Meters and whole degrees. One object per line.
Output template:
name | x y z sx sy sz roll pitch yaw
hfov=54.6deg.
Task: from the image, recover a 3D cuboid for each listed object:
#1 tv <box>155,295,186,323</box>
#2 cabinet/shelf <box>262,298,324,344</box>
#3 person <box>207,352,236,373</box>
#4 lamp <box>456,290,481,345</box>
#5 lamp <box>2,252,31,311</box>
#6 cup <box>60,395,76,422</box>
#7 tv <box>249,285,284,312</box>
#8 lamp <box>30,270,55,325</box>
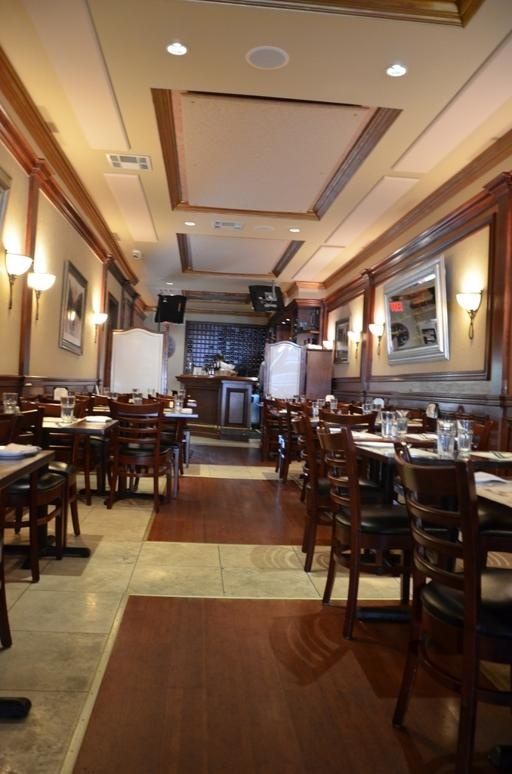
tv | -1.892 -1.774 11.718 0.720 0.694 0.178 5 0 10
cabinet/shelf | 0.954 -1.498 12.570 0.599 1.123 2.568 1 -2 -13
person | -0.714 -0.517 11.727 0.567 0.352 0.951 2 5 -9
lamp | 2.137 -0.713 5.003 0.200 0.498 0.279 0 -1 4
lamp | -2.074 -0.901 4.234 0.365 0.474 0.202 -1 -2 42
cup | -1.159 0.140 3.048 0.069 0.160 0.171 1 -2 -25
tv | 0.208 -1.848 10.377 0.693 0.583 0.324 0 -1 0
lamp | -2.154 -0.897 4.973 0.217 0.449 0.487 1 -2 -22
